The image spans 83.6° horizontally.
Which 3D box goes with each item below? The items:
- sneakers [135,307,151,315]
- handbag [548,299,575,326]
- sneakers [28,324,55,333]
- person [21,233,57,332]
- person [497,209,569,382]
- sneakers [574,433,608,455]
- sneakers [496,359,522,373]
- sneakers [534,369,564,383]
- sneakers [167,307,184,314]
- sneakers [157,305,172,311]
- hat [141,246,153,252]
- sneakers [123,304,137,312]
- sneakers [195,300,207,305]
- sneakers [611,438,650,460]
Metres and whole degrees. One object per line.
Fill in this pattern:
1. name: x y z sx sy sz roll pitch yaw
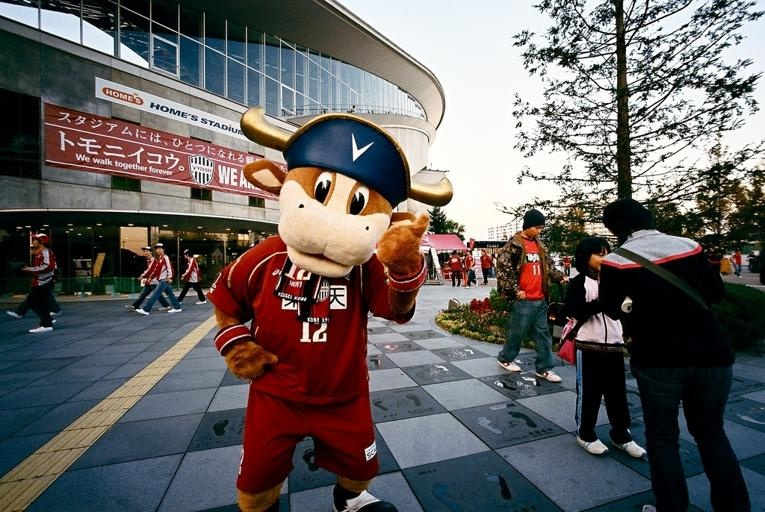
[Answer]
1. sneakers: -6.756 1.415 12.103 0.205 0.183 0.491 -7 12 -44
2. handbag: 2.472 0.742 5.941 0.406 0.389 0.290 1 -6 -45
3. sneakers: -7.800 1.568 9.797 0.571 0.226 0.188 6 10 -32
4. person: -7.865 0.528 9.842 0.466 2.154 0.710 -1 5 -40
5. person: 2.457 0.552 7.101 1.077 2.709 0.510 3 4 14
6. sneakers: 2.736 2.330 5.569 0.196 0.108 0.296 -3 5 -41
7. sneakers: 2.157 1.755 7.311 0.171 0.201 0.449 2 -1 -38
8. sneakers: 2.725 1.860 6.997 0.403 0.166 0.165 -2 0 37
9. sneakers: -6.107 1.478 12.526 0.471 0.198 0.163 3 -1 6
10. sneakers: -6.653 1.449 13.038 0.377 0.167 0.140 3 -2 20
11. hat: -8.585 -0.382 15.514 0.297 0.143 0.427 8 1 -26
12. sneakers: -7.503 1.416 12.717 0.231 0.295 0.663 -1 4 -42
13. sneakers: -6.190 1.429 14.483 0.476 0.200 0.174 2 -4 12
14. sneakers: 3.261 2.409 5.529 0.184 0.120 0.323 8 2 -44
